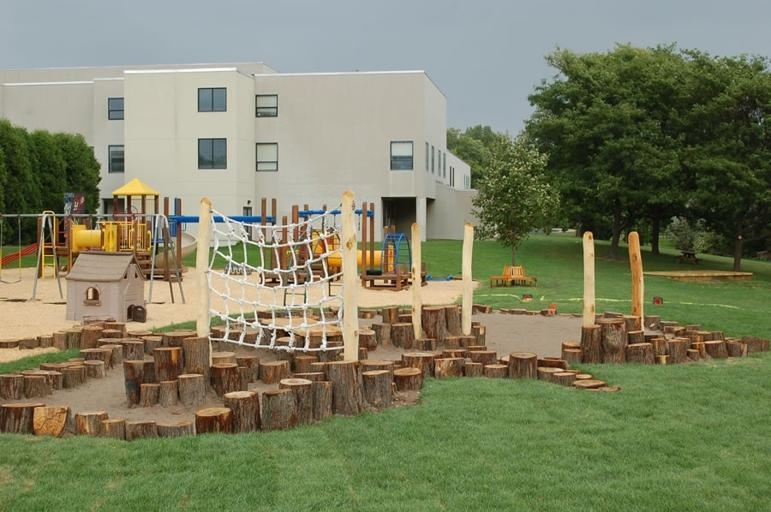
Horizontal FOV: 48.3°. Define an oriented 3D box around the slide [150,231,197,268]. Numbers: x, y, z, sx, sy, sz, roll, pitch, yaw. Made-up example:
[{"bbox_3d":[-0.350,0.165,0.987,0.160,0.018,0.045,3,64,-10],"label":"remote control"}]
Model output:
[{"bbox_3d":[-9.034,-0.375,36.399,2.107,0.816,2.127,2,12,-24],"label":"slide"}]
